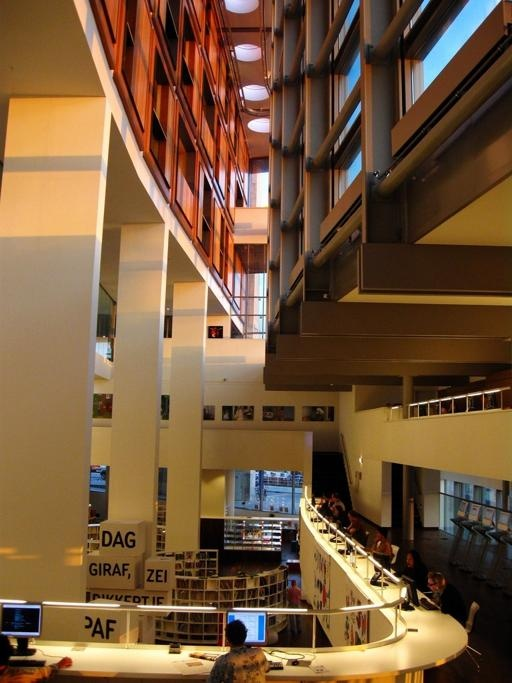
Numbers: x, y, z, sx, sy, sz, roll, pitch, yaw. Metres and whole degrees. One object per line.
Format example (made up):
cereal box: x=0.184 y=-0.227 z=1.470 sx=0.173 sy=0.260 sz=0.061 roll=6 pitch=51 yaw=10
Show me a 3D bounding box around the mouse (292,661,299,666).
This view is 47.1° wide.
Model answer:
mouse: x=0.317 y=2.597 z=4.732 sx=0.030 sy=0.031 sz=0.022 roll=9 pitch=-13 yaw=-20
